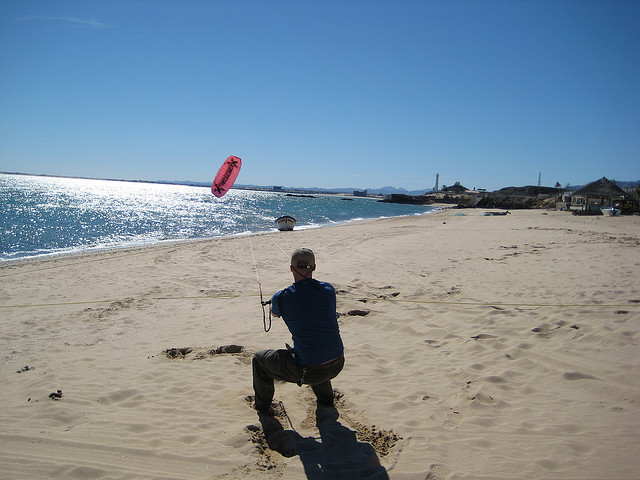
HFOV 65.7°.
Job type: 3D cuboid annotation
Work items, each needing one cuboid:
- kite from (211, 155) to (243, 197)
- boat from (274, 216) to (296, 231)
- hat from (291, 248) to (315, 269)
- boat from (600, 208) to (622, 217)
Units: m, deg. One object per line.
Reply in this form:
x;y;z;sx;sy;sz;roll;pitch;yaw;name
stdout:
-2.012;-1.382;10.759;0.625;0.856;0.415;0;14;9;kite
-1.792;-0.929;26.083;0.884;0.798;0.630;-1;13;5;boat
-0.195;0.204;5.744;0.266;0.214;0.227;-3;12;-3;hat
18.710;-1.837;31.884;1.180;0.399;1.323;2;11;15;boat
